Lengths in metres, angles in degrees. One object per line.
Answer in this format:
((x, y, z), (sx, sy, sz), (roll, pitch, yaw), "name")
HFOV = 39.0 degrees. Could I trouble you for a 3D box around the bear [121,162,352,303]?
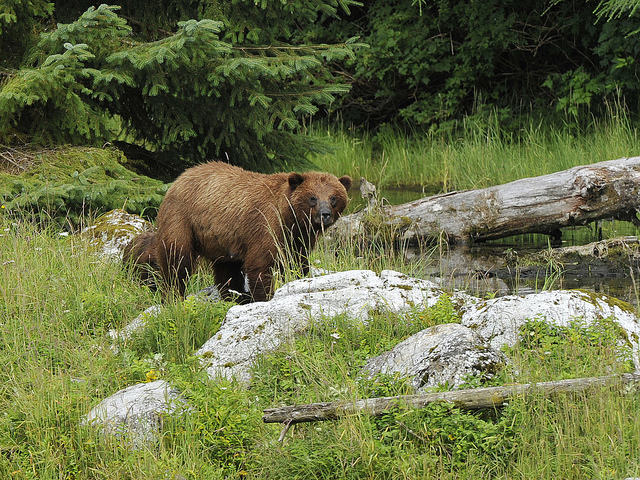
((-0.962, 0.013, 10.048), (2.622, 1.665, 0.853), (-5, 3, 36), "bear")
